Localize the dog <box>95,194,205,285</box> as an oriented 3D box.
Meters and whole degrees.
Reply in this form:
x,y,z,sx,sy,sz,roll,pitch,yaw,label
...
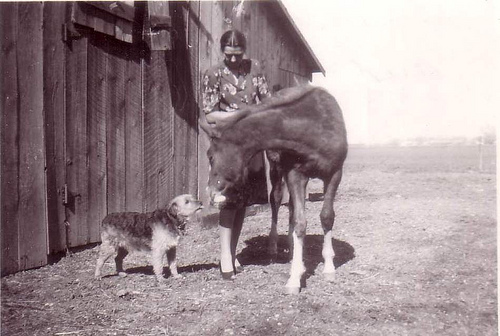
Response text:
x,y,z,sx,sy,sz,roll,pitch,yaw,label
-1.275,0.870,6.058,1.313,1.037,0.478,-2,2,8,dog

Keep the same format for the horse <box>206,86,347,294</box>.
x,y,z,sx,sy,sz,roll,pitch,yaw,label
0.615,0.173,5.934,0.881,2.065,3.320,-9,-24,22,horse

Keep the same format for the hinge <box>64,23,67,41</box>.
x,y,z,sx,sy,sz,roll,pitch,yaw,label
-2.234,-1.652,5.857,0.021,0.206,0.043,5,6,28,hinge
